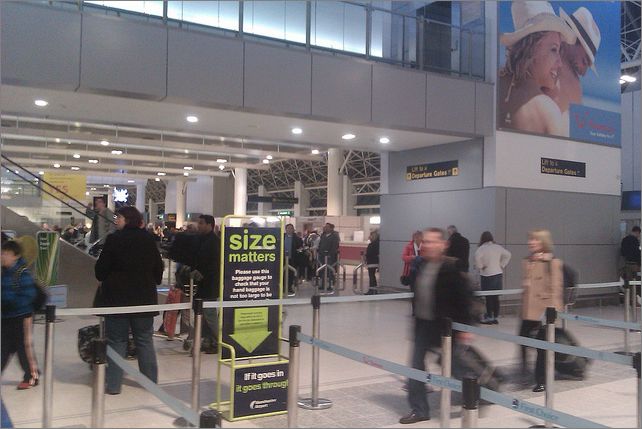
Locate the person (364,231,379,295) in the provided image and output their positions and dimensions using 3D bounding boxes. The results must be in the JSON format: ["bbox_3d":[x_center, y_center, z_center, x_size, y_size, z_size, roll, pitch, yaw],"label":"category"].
[{"bbox_3d":[1.473,1.361,15.954,0.408,1.894,1.096,1,-1,5],"label":"person"}]

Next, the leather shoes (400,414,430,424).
[{"bbox_3d":[1.211,2.698,7.238,0.385,0.143,0.139,5,-9,-4],"label":"leather shoes"}]

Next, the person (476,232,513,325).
[{"bbox_3d":[3.954,1.435,12.718,0.723,2.079,0.888,1,-1,19],"label":"person"}]

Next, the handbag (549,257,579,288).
[{"bbox_3d":[3.876,0.923,8.706,0.486,0.503,0.542,-1,-7,1],"label":"handbag"}]

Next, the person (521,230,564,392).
[{"bbox_3d":[3.307,1.441,8.301,0.603,2.426,1.181,1,-1,22],"label":"person"}]

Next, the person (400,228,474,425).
[{"bbox_3d":[1.529,1.470,7.310,0.897,2.569,0.643,1,-1,14],"label":"person"}]
